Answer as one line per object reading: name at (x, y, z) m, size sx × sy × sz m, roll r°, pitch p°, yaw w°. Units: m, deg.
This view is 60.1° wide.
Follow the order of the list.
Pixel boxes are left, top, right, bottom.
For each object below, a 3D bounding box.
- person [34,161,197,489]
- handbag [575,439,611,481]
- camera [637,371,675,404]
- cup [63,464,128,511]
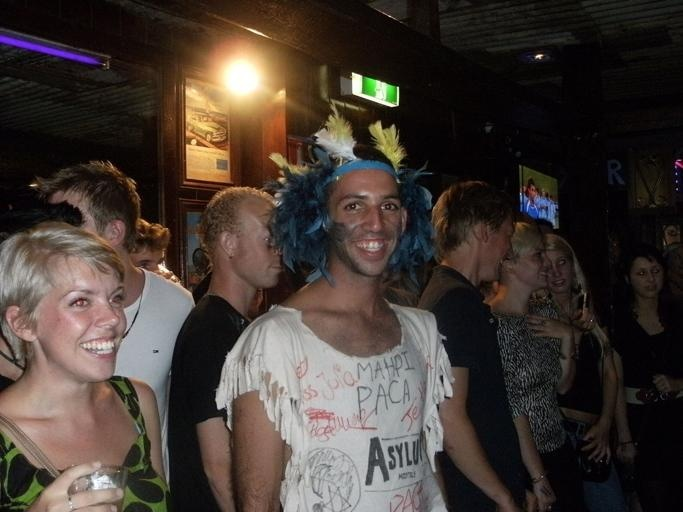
person at (-1.268, 0.353, 3.395) m, size 0.793 × 1.822 × 0.357 m, roll -1°, pitch -1°, yaw -15°
handbag at (1.894, 1.497, 4.347) m, size 0.235 × 0.330 × 0.092 m, roll 1°, pitch -5°, yaw 0°
camera at (2.798, 1.169, 5.224) m, size 0.292 × 0.227 × 0.122 m, roll -1°, pitch 22°, yaw 10°
cup at (-0.942, 0.856, 2.254) m, size 0.193 × 0.153 × 0.160 m, roll -6°, pitch -9°, yaw 37°
